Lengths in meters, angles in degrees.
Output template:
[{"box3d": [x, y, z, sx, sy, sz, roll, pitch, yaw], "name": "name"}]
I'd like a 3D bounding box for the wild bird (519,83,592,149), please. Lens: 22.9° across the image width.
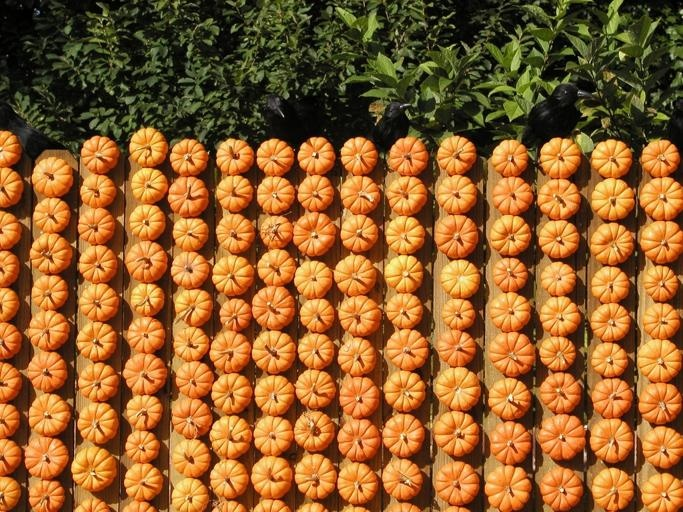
[{"box3d": [1.696, -1.130, 13.852, 0.631, 0.359, 0.503, -5, 87, 32], "name": "wild bird"}]
